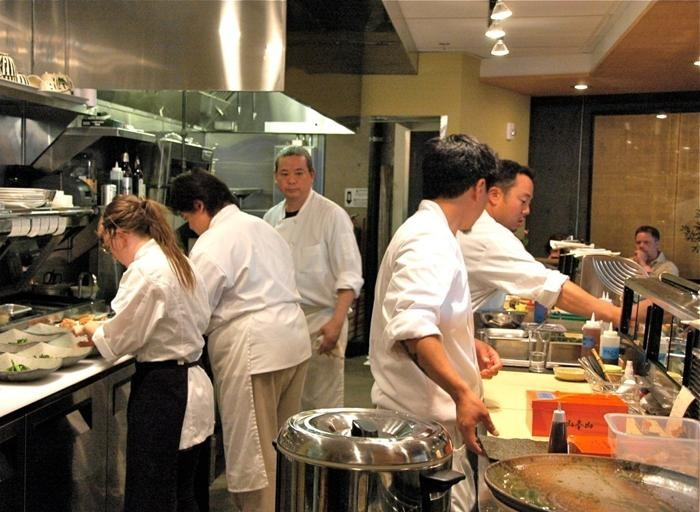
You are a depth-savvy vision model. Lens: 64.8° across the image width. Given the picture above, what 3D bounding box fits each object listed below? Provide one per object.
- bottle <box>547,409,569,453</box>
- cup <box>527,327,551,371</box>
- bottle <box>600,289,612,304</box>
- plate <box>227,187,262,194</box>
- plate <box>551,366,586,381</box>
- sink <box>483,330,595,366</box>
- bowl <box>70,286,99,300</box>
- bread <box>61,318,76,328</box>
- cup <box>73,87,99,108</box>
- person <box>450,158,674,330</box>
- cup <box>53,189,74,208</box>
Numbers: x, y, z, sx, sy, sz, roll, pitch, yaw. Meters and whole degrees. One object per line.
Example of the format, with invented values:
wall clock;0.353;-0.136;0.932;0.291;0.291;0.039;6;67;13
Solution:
bottle;0.669;0.544;1.761;0.056;0.134;0.200;4;7;23
cup;0.967;0.477;2.834;0.092;0.204;0.144;4;7;20
bottle;1.510;0.241;3.249;0.071;0.080;0.072;3;12;20
plate;-1.000;-0.622;5.232;0.252;0.060;0.259;-1;0;42
plate;1.063;0.566;2.663;0.145;0.058;0.148;4;6;23
sink;1.004;0.501;2.999;0.359;0.116;0.239;0;1;14
bowl;-1.760;0.262;3.640;0.122;0.052;0.121;1;-9;0
bread;-1.606;0.384;3.134;0.088;0.038;0.088;-2;7;-18
cup;-1.558;-0.945;3.235;0.159;0.115;0.158;1;5;0
person;0.979;-0.096;2.571;1.059;0.455;0.686;18;-1;10
cup;-1.739;-0.339;3.333;0.127;0.106;0.126;2;2;0
